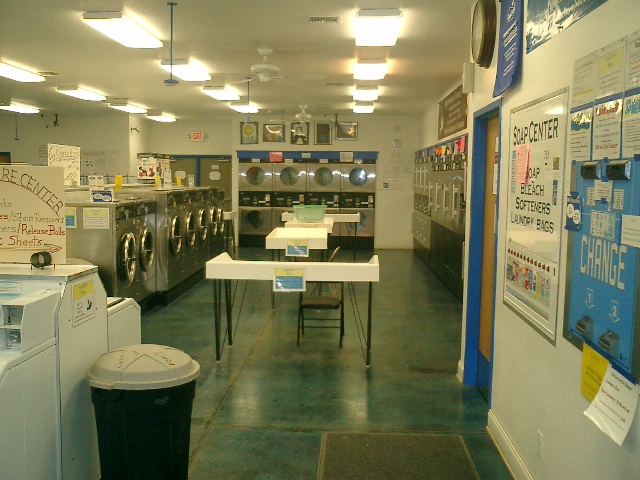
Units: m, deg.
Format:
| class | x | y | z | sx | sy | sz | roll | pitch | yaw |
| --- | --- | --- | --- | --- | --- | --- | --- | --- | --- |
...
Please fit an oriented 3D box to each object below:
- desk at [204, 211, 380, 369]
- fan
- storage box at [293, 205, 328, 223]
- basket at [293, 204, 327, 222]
| class | x | y | z | sx | sy | sz | roll | pitch | yaw |
| --- | --- | --- | --- | --- | --- | --- | --- | --- | --- |
| desk | -0.297 | 0.497 | 6.247 | 1.877 | 1.204 | 3.371 | 0 | 8 | -4 |
| fan | -0.754 | -2.214 | 6.642 | 1.145 | 0.399 | 1.209 | -4 | -3 | 8 |
| storage box | -0.173 | -0.425 | 8.200 | 0.328 | 0.186 | 0.345 | 2 | 8 | 11 |
| basket | -0.180 | -0.431 | 8.234 | 0.363 | 0.187 | 0.302 | 0 | 5 | 4 |
